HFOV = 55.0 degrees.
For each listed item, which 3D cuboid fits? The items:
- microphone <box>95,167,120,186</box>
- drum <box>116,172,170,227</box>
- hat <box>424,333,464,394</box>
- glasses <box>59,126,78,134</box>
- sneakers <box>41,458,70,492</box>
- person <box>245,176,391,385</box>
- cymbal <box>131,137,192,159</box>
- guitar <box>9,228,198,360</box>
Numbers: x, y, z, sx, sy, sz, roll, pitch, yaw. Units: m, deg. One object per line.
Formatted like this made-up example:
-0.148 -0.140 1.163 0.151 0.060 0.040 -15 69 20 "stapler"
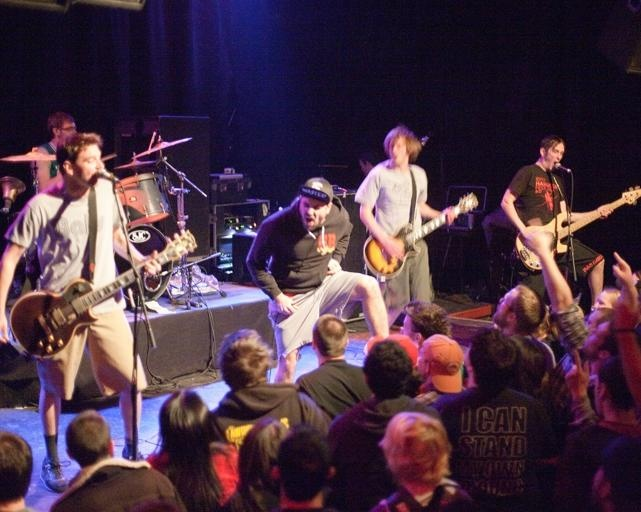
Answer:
-1.280 -0.479 3.696 0.115 0.133 0.354 1 -5 -23 "microphone"
-1.664 -0.519 6.010 0.414 0.456 0.449 -19 -10 12 "drum"
0.685 0.608 3.508 0.218 0.342 0.292 -3 7 -15 "hat"
-2.583 -1.303 6.336 0.130 0.046 0.138 -6 4 22 "glasses"
-1.814 1.495 4.217 0.130 0.156 0.363 6 9 -38 "sneakers"
-0.010 0.352 5.298 1.045 2.269 1.092 -1 15 0 "person"
-2.019 -1.368 7.731 0.390 0.102 0.381 -34 18 -31 "cymbal"
-1.419 0.236 3.960 1.107 0.426 0.153 -28 32 -20 "guitar"
